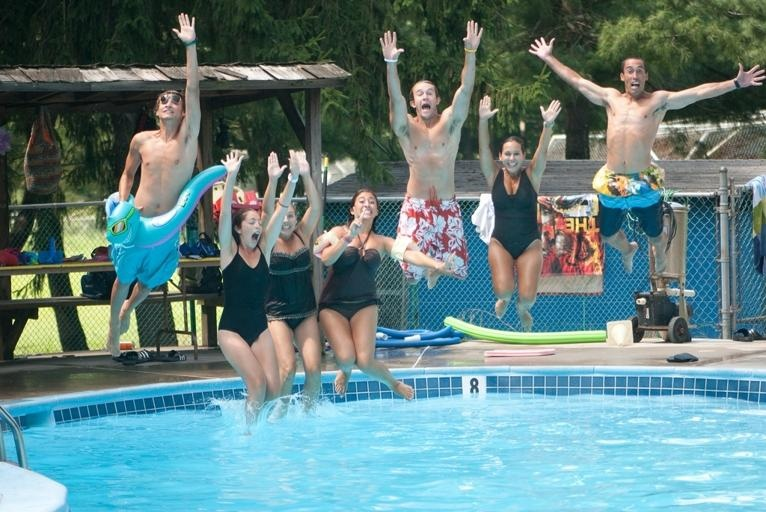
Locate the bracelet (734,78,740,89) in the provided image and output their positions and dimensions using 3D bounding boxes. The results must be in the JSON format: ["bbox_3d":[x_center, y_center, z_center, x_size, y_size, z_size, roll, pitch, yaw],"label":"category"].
[{"bbox_3d":[4.589,-2.256,16.629,0.028,0.108,0.108,-8,7,2],"label":"bracelet"}]

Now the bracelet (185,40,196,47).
[{"bbox_3d":[-2.429,-2.707,16.160,0.126,0.073,0.112,-3,2,-23],"label":"bracelet"}]

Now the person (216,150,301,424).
[{"bbox_3d":[-1.615,0.372,15.706,0.838,2.586,0.390,-2,1,-9],"label":"person"}]

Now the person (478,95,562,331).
[{"bbox_3d":[1.773,-0.569,16.948,0.964,3.208,1.156,-2,1,4],"label":"person"}]

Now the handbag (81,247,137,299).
[{"bbox_3d":[-3.821,0.240,17.942,0.689,1.041,0.598,2,3,2],"label":"handbag"}]
